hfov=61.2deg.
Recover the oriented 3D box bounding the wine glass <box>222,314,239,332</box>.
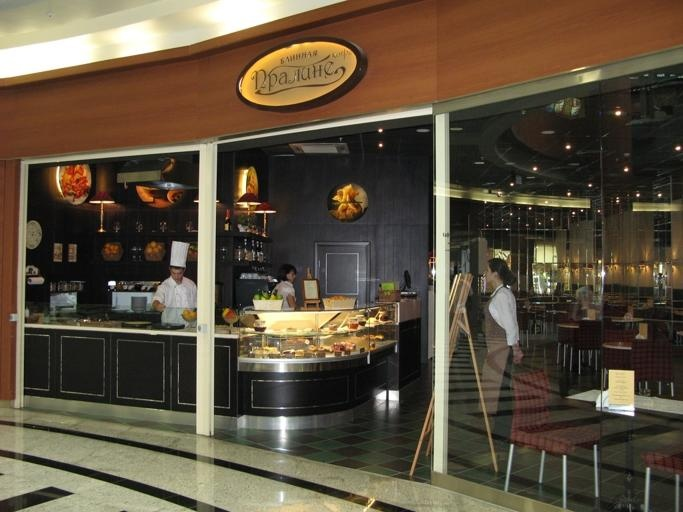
[{"bbox_3d":[-1.213,0.758,6.522,0.187,0.177,0.183,0,0,38],"label":"wine glass"}]

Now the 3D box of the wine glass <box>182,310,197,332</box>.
[{"bbox_3d":[-1.697,0.746,6.632,0.238,0.230,0.222,0,-5,10],"label":"wine glass"}]

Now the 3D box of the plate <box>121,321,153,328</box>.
[{"bbox_3d":[-2.388,0.812,6.842,0.419,0.100,0.039,2,3,23],"label":"plate"}]

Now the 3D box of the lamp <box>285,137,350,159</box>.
[{"bbox_3d":[-0.354,-1.855,9.962,0.933,0.182,0.869,0,0,5],"label":"lamp"}]

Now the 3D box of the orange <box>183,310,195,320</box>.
[{"bbox_3d":[-1.707,0.683,6.625,0.117,0.070,0.114,1,-4,3],"label":"orange"}]

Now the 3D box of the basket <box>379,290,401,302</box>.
[{"bbox_3d":[0.671,0.556,8.160,0.208,0.112,0.200,-1,-1,29],"label":"basket"}]

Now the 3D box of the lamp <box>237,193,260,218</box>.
[{"bbox_3d":[-1.529,-0.852,9.719,0.437,0.381,0.408,-1,3,-8],"label":"lamp"}]

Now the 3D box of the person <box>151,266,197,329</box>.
[{"bbox_3d":[-1.975,0.480,6.949,0.502,0.651,0.777,0,3,-14],"label":"person"}]

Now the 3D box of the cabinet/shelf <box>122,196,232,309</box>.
[{"bbox_3d":[-1.766,0.145,7.490,1.254,1.615,1.153,2,-10,-15],"label":"cabinet/shelf"}]

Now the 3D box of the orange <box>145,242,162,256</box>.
[{"bbox_3d":[-2.899,-0.092,9.140,0.241,0.208,0.144,-5,-19,19],"label":"orange"}]

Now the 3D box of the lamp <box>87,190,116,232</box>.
[{"bbox_3d":[-3.850,-0.708,9.427,0.398,0.674,0.415,0,3,-18],"label":"lamp"}]
